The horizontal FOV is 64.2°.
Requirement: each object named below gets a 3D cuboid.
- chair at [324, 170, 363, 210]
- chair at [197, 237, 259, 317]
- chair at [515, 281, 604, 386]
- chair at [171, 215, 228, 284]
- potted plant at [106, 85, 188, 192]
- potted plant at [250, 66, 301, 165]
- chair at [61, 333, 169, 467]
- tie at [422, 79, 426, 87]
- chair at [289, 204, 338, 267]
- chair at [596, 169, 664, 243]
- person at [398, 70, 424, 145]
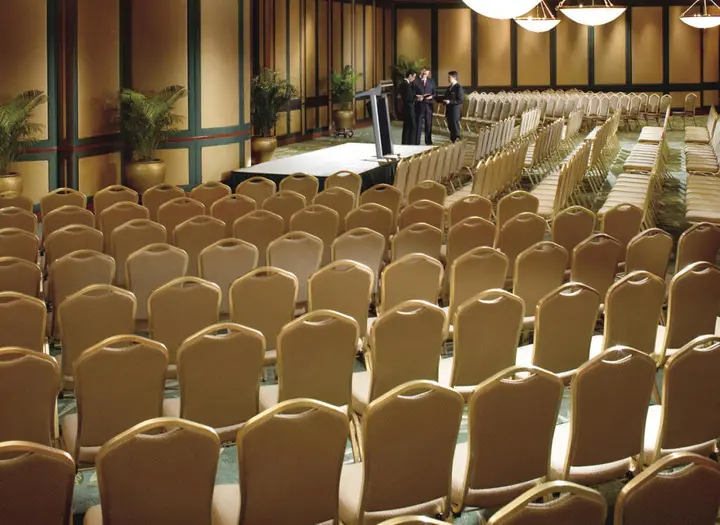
[{"bbox_3d":[-0.216,-1.033,8.330,0.422,0.861,0.543,-2,16,-5],"label":"chair"},{"bbox_3d":[-1.122,0.015,4.894,0.475,0.988,0.580,-3,28,-21],"label":"chair"},{"bbox_3d":[1.248,0.446,3.600,0.351,0.761,0.447,-7,26,-13],"label":"chair"},{"bbox_3d":[-1.590,-0.192,5.628,0.462,0.975,0.578,-2,33,-21],"label":"chair"},{"bbox_3d":[-3.783,-2.239,10.354,1.102,1.771,0.848,-3,1,-26],"label":"potted plant"},{"bbox_3d":[-2.154,-3.715,14.288,0.977,1.898,1.820,-2,1,2],"label":"potted plant"},{"bbox_3d":[-1.217,0.693,2.862,0.418,0.891,0.519,-2,30,-25],"label":"chair"},{"bbox_3d":[1.752,-4.797,15.424,0.096,0.167,0.045,0,7,-15],"label":"tie"},{"bbox_3d":[-0.437,-0.305,6.041,0.452,0.969,0.573,-1,14,-10],"label":"chair"},{"bbox_3d":[3.598,-0.748,7.565,0.412,0.636,1.431,7,25,23],"label":"chair"},{"bbox_3d":[1.343,-4.041,14.966,0.488,2.018,1.063,-2,1,7],"label":"person"}]
